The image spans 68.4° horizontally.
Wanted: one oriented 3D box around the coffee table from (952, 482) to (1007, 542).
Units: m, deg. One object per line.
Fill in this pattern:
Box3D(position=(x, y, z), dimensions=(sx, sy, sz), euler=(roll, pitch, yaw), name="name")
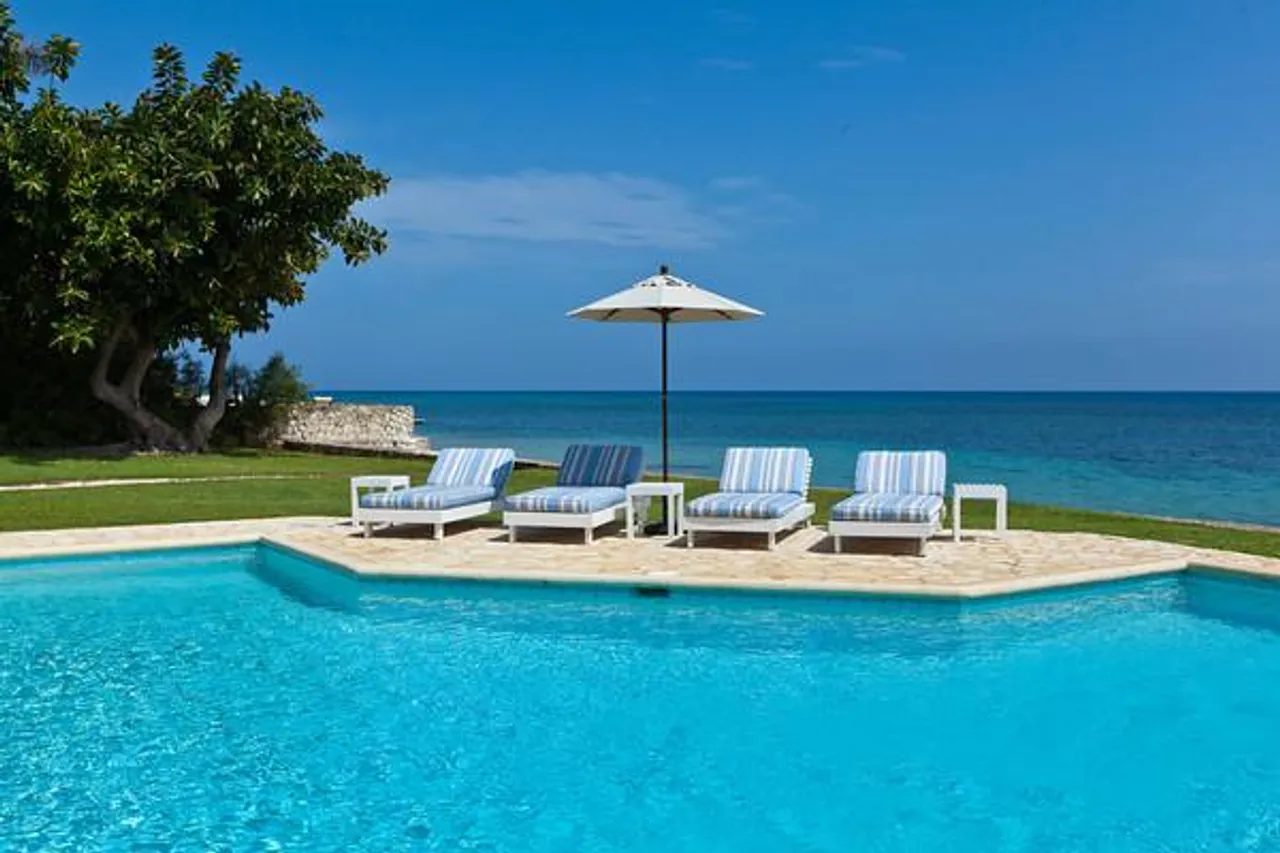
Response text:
Box3D(position=(4.943, 1.264, 13.666), dimensions=(1.212, 0.769, 0.744), euler=(0, -4, 9), name="coffee table")
